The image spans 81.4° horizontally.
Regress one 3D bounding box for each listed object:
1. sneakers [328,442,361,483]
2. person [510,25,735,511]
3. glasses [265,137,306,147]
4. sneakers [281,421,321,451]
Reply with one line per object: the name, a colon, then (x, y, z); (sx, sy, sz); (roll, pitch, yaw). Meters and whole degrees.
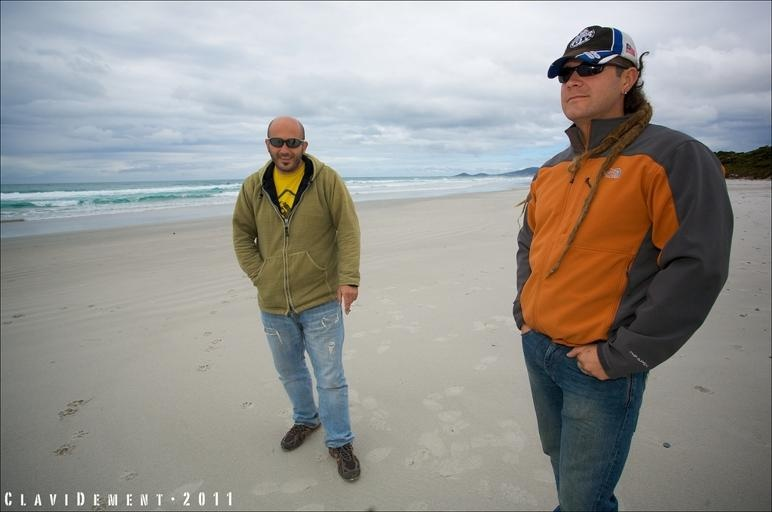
sneakers: (-0.367, 1.805, 4.010); (0.184, 0.237, 0.333); (-12, 14, -25)
person: (1.541, 0.129, 3.085); (1.300, 3.349, 1.000); (-3, 14, 14)
glasses: (-0.887, -1.003, 3.977); (0.317, 0.101, 0.108); (-7, 13, -12)
sneakers: (-0.820, 1.682, 4.312); (0.135, 0.148, 0.359); (28, 23, 32)
